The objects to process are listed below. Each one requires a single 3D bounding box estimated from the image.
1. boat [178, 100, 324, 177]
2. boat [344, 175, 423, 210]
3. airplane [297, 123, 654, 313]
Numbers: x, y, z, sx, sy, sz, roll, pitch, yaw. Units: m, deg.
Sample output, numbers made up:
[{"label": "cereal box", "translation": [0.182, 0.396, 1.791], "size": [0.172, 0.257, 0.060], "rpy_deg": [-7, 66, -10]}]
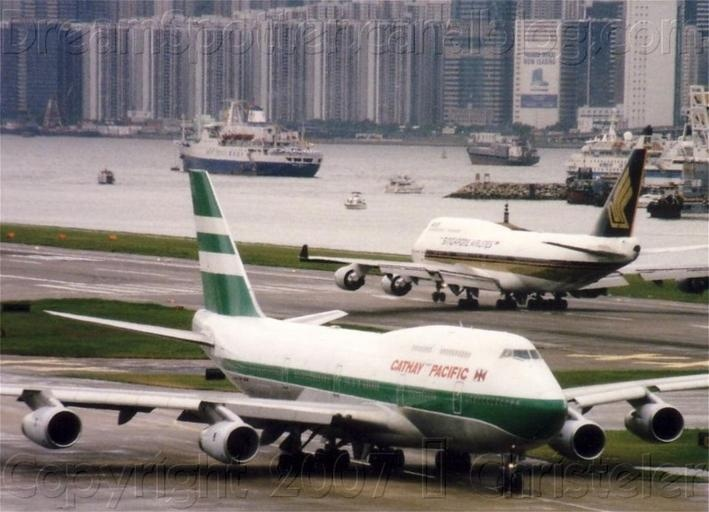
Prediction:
[{"label": "boat", "translation": [-10.317, -10.669, 173.493], "size": [20.804, 7.129, 6.336], "rpy_deg": [3, 9, 25]}, {"label": "boat", "translation": [2.778, -5.051, 165.307], "size": [6.235, 3.674, 5.658], "rpy_deg": [-4, 8, -13]}, {"label": "airplane", "translation": [10.067, -0.092, 123.293], "size": [15.387, 6.441, 16.085], "rpy_deg": [-2, 4, -40]}]
